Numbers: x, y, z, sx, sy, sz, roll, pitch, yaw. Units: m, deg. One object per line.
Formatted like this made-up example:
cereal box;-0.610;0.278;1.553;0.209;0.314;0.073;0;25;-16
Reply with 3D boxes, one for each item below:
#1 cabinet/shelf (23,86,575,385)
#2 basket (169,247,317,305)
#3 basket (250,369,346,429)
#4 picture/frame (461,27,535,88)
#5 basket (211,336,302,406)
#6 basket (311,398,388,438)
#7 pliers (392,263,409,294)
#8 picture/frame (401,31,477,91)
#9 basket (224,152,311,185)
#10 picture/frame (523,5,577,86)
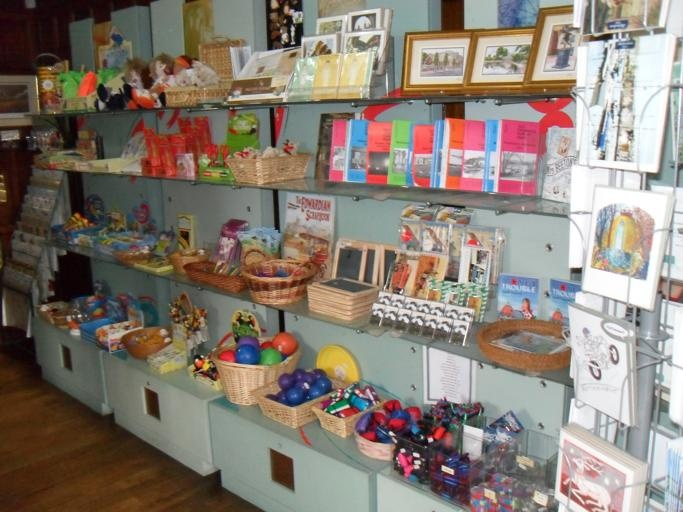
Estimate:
cabinet/shelf;-0.429;-0.336;3.012;3.573;1.210;0.516;11;15;36
basket;-0.514;0.143;3.044;0.577;0.124;0.354;8;12;43
basket;-0.259;0.810;2.878;0.253;0.098;0.331;11;16;41
picture/frame;0.658;-0.812;2.119;0.324;0.268;0.025;5;-4;35
basket;-0.518;0.719;3.153;0.475;0.244;0.421;-6;9;-40
basket;-0.025;0.888;2.717;0.195;0.086;0.264;2;6;44
pliers;0.308;0.119;2.591;0.081;0.137;0.042;13;-8;38
picture/frame;0.443;-0.860;2.266;0.327;0.230;0.026;6;5;34
basket;-0.381;-0.476;2.908;0.315;0.112;0.240;-9;11;-40
picture/frame;0.816;-0.792;1.951;0.205;0.309;0.119;13;17;41
